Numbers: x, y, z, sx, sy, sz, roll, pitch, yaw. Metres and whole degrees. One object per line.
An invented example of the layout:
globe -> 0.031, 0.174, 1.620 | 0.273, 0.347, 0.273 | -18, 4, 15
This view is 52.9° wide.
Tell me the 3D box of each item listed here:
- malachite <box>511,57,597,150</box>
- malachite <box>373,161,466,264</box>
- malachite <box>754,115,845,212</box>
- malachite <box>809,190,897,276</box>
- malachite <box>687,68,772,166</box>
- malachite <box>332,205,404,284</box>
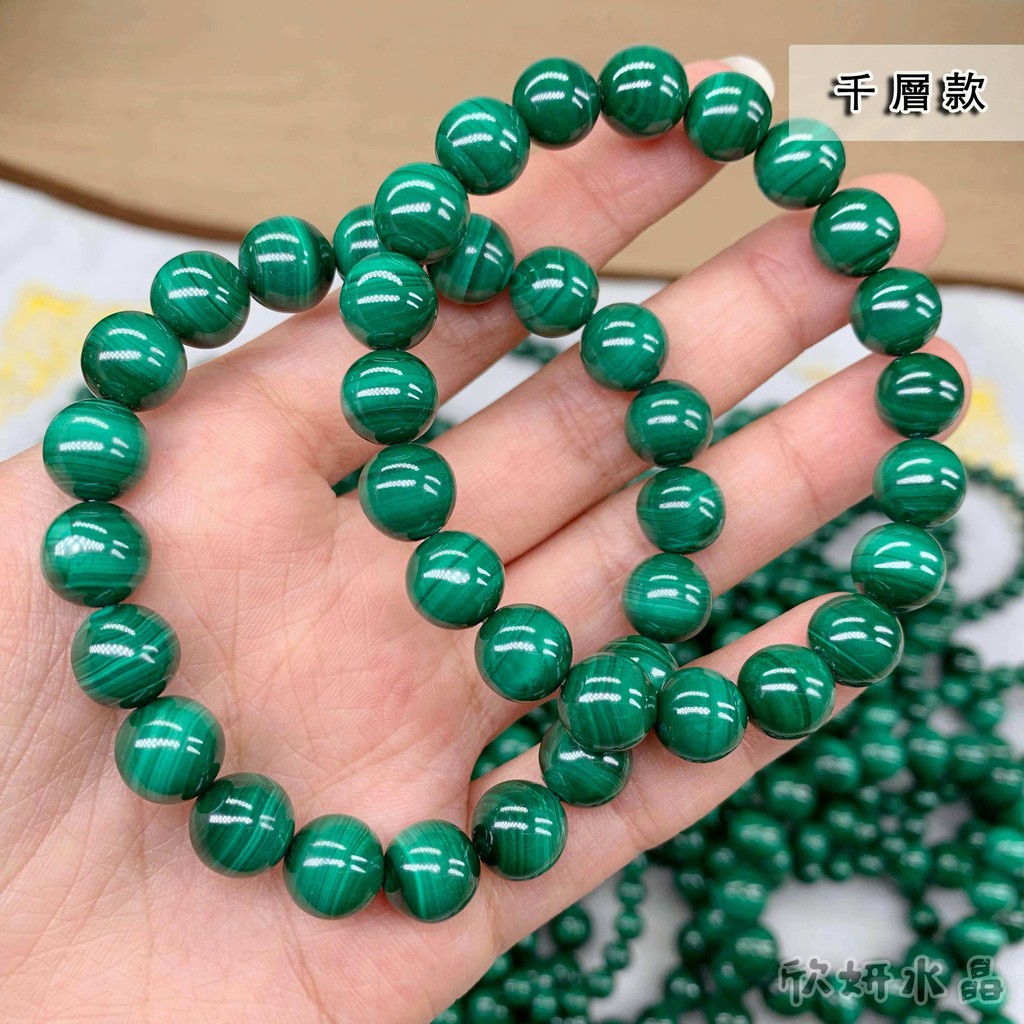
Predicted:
malachite -> 0.053, -0.450, 1.135 | 0.112, 0.090, 0.116 | -4, 36, 0
malachite -> -0.091, -0.300, 1.085 | 0.089, 0.108, 0.090 | 7, -11, -21
malachite -> 0.326, -0.393, 1.150 | 0.093, 0.100, 0.112 | -2, -30, -1
malachite -> 0.375, -0.306, 1.124 | 0.086, 0.105, 0.088 | 4, 7, 25
malachite -> 0.233, -0.424, 1.112 | 0.088, 0.107, 0.088 | 10, 6, 27
malachite -> -0.158, -0.287, 1.140 | 0.073, 0.091, 0.074 | -2, -10, -23
